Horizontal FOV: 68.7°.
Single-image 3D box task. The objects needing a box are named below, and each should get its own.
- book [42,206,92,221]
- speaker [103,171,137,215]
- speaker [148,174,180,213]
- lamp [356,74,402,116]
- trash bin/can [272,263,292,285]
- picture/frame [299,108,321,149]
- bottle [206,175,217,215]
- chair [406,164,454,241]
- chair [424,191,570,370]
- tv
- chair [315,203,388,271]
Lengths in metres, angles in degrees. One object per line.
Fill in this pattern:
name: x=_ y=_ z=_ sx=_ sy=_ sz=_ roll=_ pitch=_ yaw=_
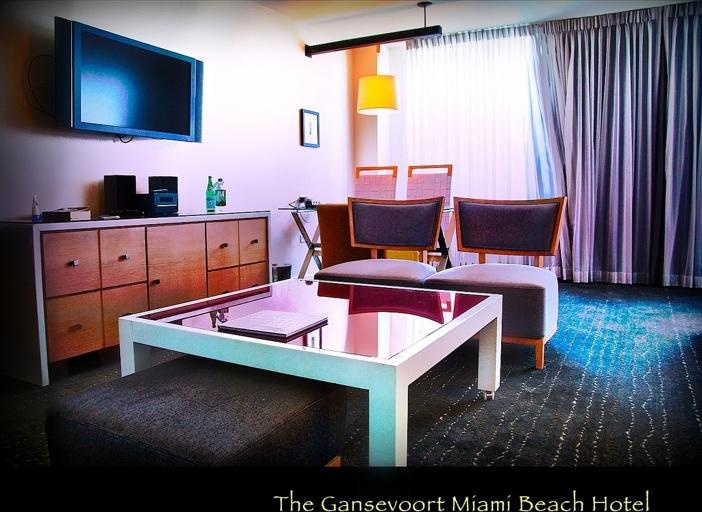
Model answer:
book: x=-1.852 y=-0.282 z=3.379 sx=0.256 sy=0.077 sz=0.489 roll=-6 pitch=12 yaw=-23
speaker: x=-1.757 y=-0.474 z=3.910 sx=0.219 sy=0.290 sz=0.235 roll=-9 pitch=14 yaw=-35
speaker: x=-1.460 y=-0.476 z=4.004 sx=0.210 sy=0.283 sz=0.416 roll=-5 pitch=12 yaw=-20
lamp: x=0.306 y=-1.769 z=5.600 sx=0.477 sy=0.345 sz=0.469 roll=-6 pitch=12 yaw=-31
trash bin/can: x=-0.721 y=0.158 z=5.364 sx=0.226 sy=0.237 sz=0.226 roll=1 pitch=9 yaw=18
picture/frame: x=-0.496 y=-1.517 z=6.087 sx=0.054 sy=0.416 sz=0.420 roll=6 pitch=13 yaw=20
bottle: x=-1.272 y=-0.565 z=4.666 sx=0.100 sy=0.326 sz=0.475 roll=-4 pitch=12 yaw=-15
chair: x=0.737 y=-0.532 z=5.100 sx=0.500 sy=0.818 sz=0.514 roll=3 pitch=-2 yaw=22
chair: x=1.013 y=0.124 z=3.512 sx=0.808 sy=1.085 sz=0.834 roll=3 pitch=5 yaw=36
tv: x=-1.675 y=-1.315 z=4.035 sx=0.141 sy=0.723 sz=1.304 roll=9 pitch=10 yaw=29
chair: x=0.115 y=-0.185 z=4.255 sx=0.558 sy=0.680 sz=0.469 roll=-7 pitch=10 yaw=-36
